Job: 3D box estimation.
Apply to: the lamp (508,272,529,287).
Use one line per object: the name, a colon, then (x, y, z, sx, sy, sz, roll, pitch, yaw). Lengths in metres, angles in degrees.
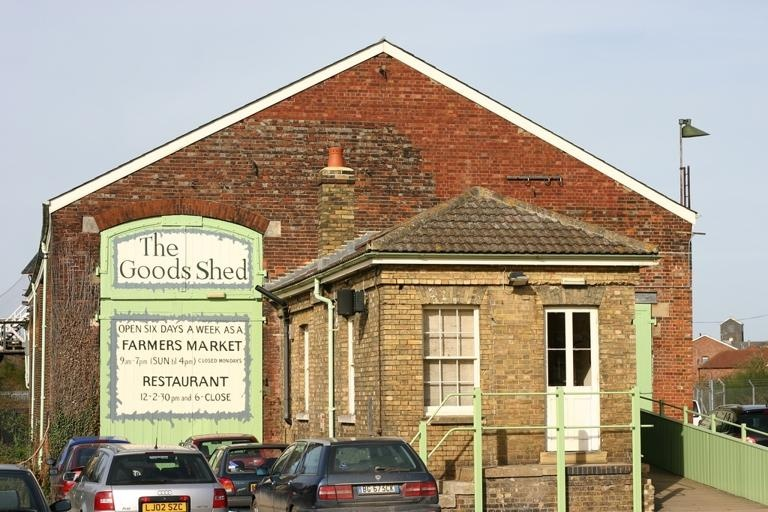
lamp: (3.720, 0.655, 49.865, 0.630, 0.409, 0.327, 1, 20, -12)
